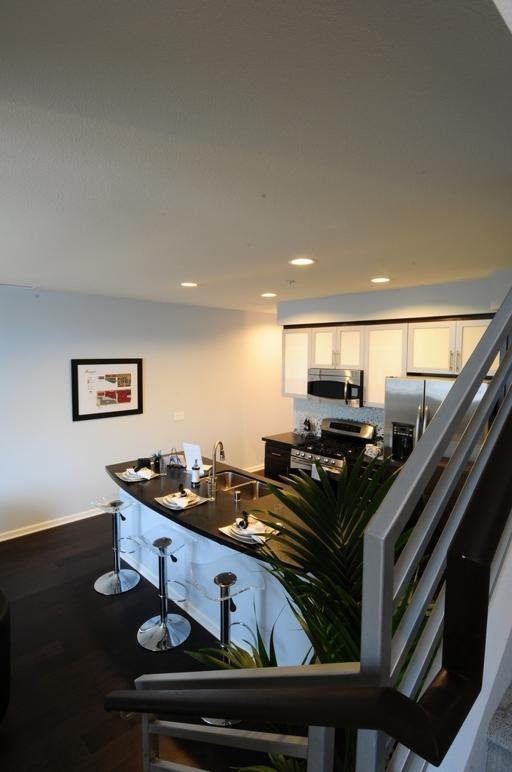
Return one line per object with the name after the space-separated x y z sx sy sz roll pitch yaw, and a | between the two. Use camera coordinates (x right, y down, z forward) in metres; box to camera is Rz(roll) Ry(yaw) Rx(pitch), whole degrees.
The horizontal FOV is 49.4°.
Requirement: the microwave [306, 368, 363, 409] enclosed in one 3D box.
0.675 -0.012 4.820 0.131 0.296 0.645 -1 6 -31 | microwave

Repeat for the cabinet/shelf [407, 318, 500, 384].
1.412 -0.318 3.944 0.654 0.448 0.241 2 38 20 | cabinet/shelf

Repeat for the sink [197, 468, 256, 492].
-0.209 0.640 3.766 0.203 0.132 0.204 -6 10 -45 | sink

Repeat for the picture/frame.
-1.373 0.029 4.992 0.024 0.491 0.558 -1 0 37 | picture/frame

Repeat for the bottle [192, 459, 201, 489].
-0.396 0.573 3.634 0.053 0.154 0.130 1 5 -9 | bottle

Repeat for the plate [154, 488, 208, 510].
-0.432 0.656 3.271 0.302 0.060 0.293 -1 6 -39 | plate

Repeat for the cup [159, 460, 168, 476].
-0.661 0.571 3.969 0.055 0.098 0.165 1 5 -10 | cup

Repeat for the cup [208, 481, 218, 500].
-0.264 0.618 3.314 0.043 0.116 0.085 2 5 0 | cup

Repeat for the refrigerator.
1.292 0.255 4.241 0.572 1.047 0.429 14 44 24 | refrigerator

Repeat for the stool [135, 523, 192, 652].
-0.525 1.125 3.101 0.310 0.541 0.294 -11 16 -43 | stool
